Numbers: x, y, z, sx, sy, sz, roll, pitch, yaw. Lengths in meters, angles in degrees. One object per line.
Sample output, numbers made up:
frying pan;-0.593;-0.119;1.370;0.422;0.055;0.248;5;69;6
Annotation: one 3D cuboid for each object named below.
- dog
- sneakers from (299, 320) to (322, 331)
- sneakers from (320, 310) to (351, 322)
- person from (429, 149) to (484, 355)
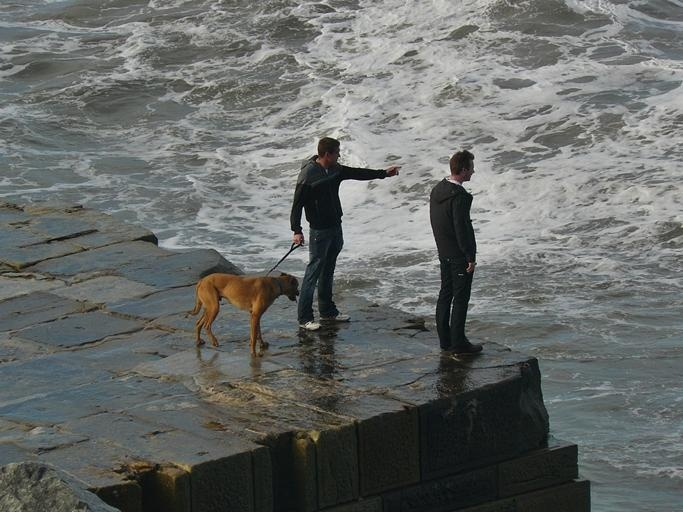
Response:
dog;-1.072;0.708;14.085;1.942;0.794;0.572;-2;0;28
sneakers;-0.404;0.925;14.698;0.266;0.123;0.106;-1;-1;-2
sneakers;-0.028;0.826;14.984;0.478;0.103;0.142;-2;16;-6
person;1.457;-0.052;14.058;0.591;2.474;0.447;-2;0;4
